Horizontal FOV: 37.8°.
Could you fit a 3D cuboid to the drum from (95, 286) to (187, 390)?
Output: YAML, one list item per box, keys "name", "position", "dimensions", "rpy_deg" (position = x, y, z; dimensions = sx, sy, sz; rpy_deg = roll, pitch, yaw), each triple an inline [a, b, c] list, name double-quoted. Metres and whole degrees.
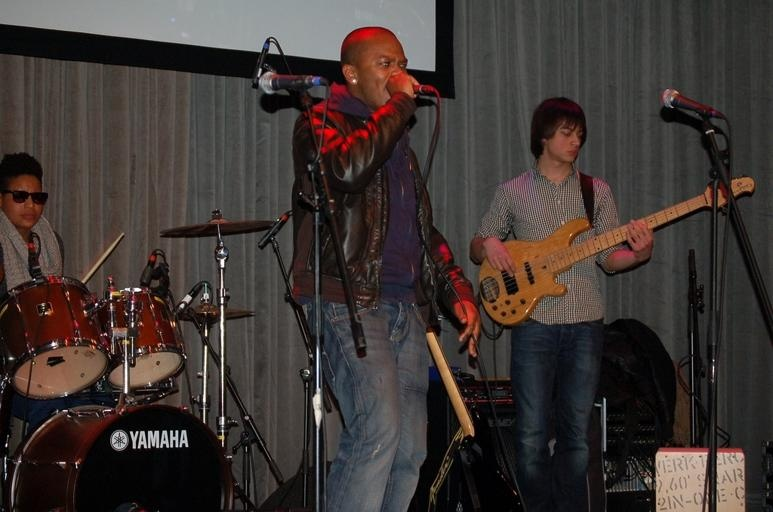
- name: "drum"
  position: [-1.619, 0.545, 7.513]
  dimensions: [0.600, 0.659, 0.706]
  rpy_deg: [0, -1, 33]

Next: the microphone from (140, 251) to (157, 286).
- name: "microphone"
  position: [-1.637, 0.107, 7.746]
  dimensions: [0.095, 0.277, 0.432]
  rpy_deg: [0, -5, -8]

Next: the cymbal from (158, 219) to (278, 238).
- name: "cymbal"
  position: [-1.197, -0.172, 7.974]
  dimensions: [0.791, 0.132, 0.567]
  rpy_deg: [0, -6, -7]

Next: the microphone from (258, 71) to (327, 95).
- name: "microphone"
  position: [-0.484, -0.975, 6.428]
  dimensions: [0.471, 0.197, 0.181]
  rpy_deg: [3, 7, 19]

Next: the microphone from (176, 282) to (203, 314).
- name: "microphone"
  position: [-1.391, 0.309, 7.906]
  dimensions: [0.046, 0.206, 0.055]
  rpy_deg: [31, -5, -2]
